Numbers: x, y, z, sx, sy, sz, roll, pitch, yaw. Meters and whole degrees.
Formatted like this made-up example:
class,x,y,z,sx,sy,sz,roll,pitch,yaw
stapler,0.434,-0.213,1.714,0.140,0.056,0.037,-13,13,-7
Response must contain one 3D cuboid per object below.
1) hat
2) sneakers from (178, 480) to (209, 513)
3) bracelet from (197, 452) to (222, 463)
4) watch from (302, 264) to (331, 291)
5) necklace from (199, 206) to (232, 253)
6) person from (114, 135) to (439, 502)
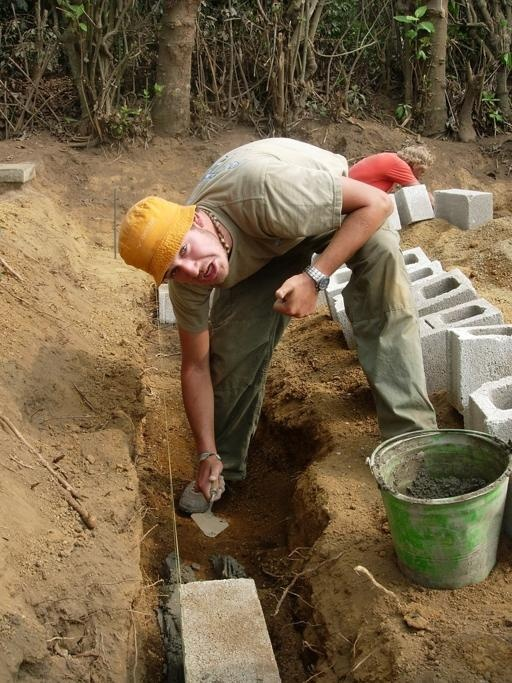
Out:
class,x,y,z,sx,sy,sz,roll,pitch,yaw
hat,-0.310,-0.318,2.319,0.246,0.272,0.177,-1,17,-5
sneakers,-0.241,0.608,2.893,0.086,0.054,0.156,10,11,-2
bracelet,-0.165,0.428,2.751,0.061,0.040,0.029,22,1,-14
watch,0.213,-0.232,2.502,0.098,0.095,0.064,18,55,38
necklace,-0.118,-0.370,2.426,0.052,0.139,0.109,-45,-14,16
person,0.078,-0.016,2.719,1.037,1.442,0.714,0,18,-2
